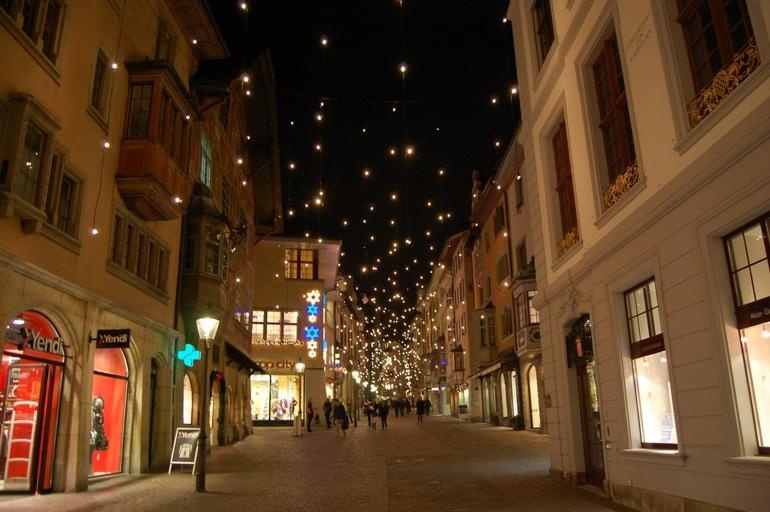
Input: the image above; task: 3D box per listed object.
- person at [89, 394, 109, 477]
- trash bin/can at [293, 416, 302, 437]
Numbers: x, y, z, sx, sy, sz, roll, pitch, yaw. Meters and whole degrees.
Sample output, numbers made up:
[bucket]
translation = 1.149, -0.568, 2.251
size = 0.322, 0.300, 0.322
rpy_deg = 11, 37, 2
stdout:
[person]
translation = -8.727, 5.422, 17.557
size = 0.315, 2.173, 1.213
rpy_deg = 2, -22, -13
[trash bin/can]
translation = -4.946, 9.595, 32.564
size = 0.376, 1.079, 1.002
rpy_deg = 0, -22, -9
